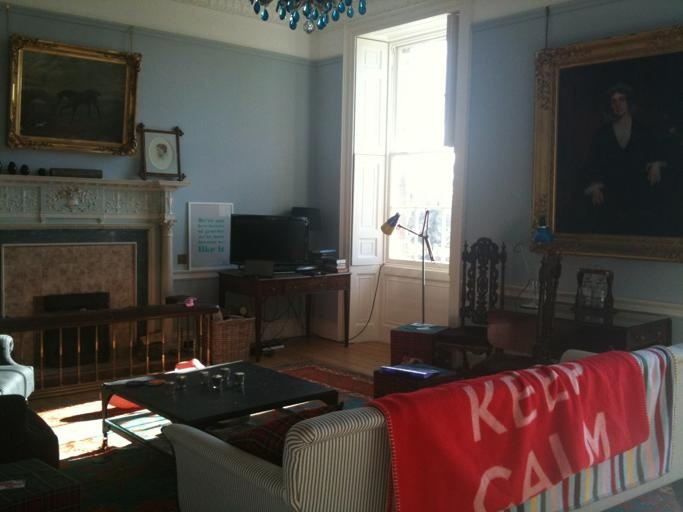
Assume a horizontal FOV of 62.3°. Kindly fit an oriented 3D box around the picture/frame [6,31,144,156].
[{"bbox_3d":[-2.742,-1.650,5.688,1.275,1.247,0.176,0,3,-35],"label":"picture/frame"}]

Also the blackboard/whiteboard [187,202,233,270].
[{"bbox_3d":[-1.541,-0.245,6.550,0.718,1.060,0.069,-2,4,-42],"label":"blackboard/whiteboard"}]

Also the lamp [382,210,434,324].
[{"bbox_3d":[0.785,0.116,6.522,0.586,1.303,0.916,1,4,9],"label":"lamp"}]

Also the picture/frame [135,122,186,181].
[{"bbox_3d":[-2.000,-1.147,6.170,0.636,0.685,0.116,-3,5,-42],"label":"picture/frame"}]

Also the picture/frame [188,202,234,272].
[{"bbox_3d":[-1.535,-0.238,6.550,0.080,1.071,0.726,4,5,44],"label":"picture/frame"}]

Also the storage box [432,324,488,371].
[{"bbox_3d":[1.121,0.857,5.489,0.406,0.726,0.469,-2,-4,40],"label":"storage box"}]

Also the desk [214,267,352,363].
[{"bbox_3d":[-0.754,0.394,6.649,1.430,1.096,0.922,-2,4,-38],"label":"desk"}]
